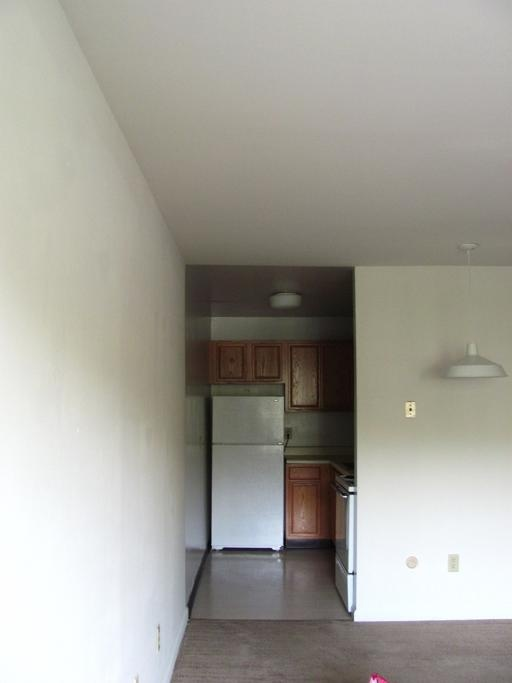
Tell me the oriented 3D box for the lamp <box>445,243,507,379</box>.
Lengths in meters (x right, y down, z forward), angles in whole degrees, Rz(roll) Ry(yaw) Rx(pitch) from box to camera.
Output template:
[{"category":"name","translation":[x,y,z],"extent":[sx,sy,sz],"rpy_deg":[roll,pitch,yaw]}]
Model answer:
[{"category":"lamp","translation":[1.192,-0.142,3.365],"extent":[0.279,0.678,0.681],"rpy_deg":[-1,-5,19]}]

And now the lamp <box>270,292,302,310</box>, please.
[{"category":"lamp","translation":[0.227,-0.317,4.689],"extent":[0.241,0.087,0.272],"rpy_deg":[0,-5,5]}]

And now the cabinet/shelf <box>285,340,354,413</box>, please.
[{"category":"cabinet/shelf","translation":[0.588,0.331,5.620],"extent":[0.581,0.625,0.216],"rpy_deg":[-1,-2,8]}]
